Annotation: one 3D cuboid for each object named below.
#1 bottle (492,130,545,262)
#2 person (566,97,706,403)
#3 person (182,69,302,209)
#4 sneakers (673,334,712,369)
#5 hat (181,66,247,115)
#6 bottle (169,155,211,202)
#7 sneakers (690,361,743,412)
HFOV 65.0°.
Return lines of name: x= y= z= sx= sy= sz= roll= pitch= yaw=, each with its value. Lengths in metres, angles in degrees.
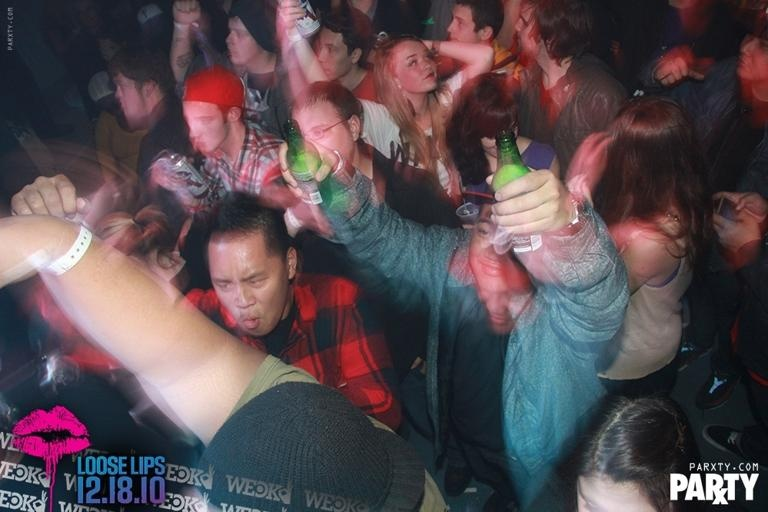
bottle: x=0.495 y=-0.228 z=2.277 sx=0.155 sy=0.482 sz=0.239 roll=-7 pitch=23 yaw=14
person: x=1.303 y=-0.011 z=3.008 sx=0.421 sy=1.400 sz=0.798 roll=8 pitch=31 yaw=41
person: x=-0.791 y=-0.614 z=3.205 sx=0.376 sy=0.610 sz=0.816 roll=-26 pitch=24 yaw=-36
sneakers: x=1.600 y=0.492 z=3.176 sx=0.175 sy=0.188 sz=0.147 roll=-19 pitch=15 yaw=-36
hat: x=-0.840 y=-0.844 z=3.084 sx=0.199 sy=0.203 sz=0.257 roll=24 pitch=58 yaw=36
bottle: x=-0.990 y=-0.415 z=3.156 sx=0.147 sy=0.253 sz=0.097 roll=-42 pitch=9 yaw=-3
sneakers: x=1.728 y=0.713 z=3.163 sx=0.122 sy=0.123 sz=0.310 roll=39 pitch=79 yaw=17
